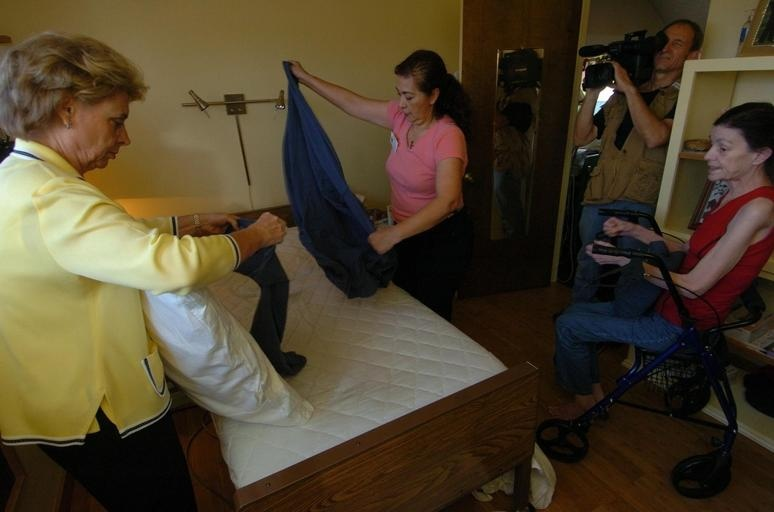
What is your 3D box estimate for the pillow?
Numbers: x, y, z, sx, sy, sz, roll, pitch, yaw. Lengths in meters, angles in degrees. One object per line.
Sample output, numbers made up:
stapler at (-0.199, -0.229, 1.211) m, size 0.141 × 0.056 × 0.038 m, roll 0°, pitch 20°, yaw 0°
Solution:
pillow at (-0.639, 0.408, 2.205) m, size 0.559 × 0.534 × 0.311 m, roll 32°, pitch 49°, yaw 29°
